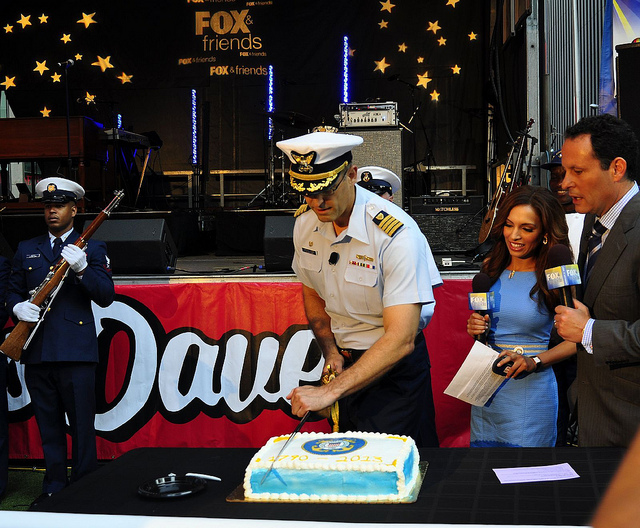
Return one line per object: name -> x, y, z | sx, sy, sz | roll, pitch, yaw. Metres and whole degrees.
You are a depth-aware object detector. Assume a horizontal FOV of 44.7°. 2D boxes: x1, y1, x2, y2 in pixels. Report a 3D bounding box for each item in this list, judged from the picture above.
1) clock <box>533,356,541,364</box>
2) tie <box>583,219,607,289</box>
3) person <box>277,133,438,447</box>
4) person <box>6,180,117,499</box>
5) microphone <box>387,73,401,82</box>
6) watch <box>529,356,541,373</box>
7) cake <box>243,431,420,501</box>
clock -> 1.170, 0.516, 4.248 | 0.029, 0.026, 0.026 | -5, 15, -12
tie -> 1.375, -0.080, 3.953 | 0.044, 0.425, 0.057 | 34, -26, -23
person -> 0.182, 0.241, 3.867 | 0.791, 1.738, 1.019 | 0, 14, 8
person -> -1.848, 0.542, 5.556 | 0.822, 2.164, 1.022 | -6, 15, -16
microphone -> 1.162, -3.009, 12.507 | 0.152, 0.093, 0.649 | 0, 15, 8
watch -> 1.173, 0.550, 4.271 | 0.064, 0.107, 0.062 | -3, 14, -4
cake -> 0.053, 0.843, 3.378 | 0.745, 0.149, 0.410 | -1, 15, 5
